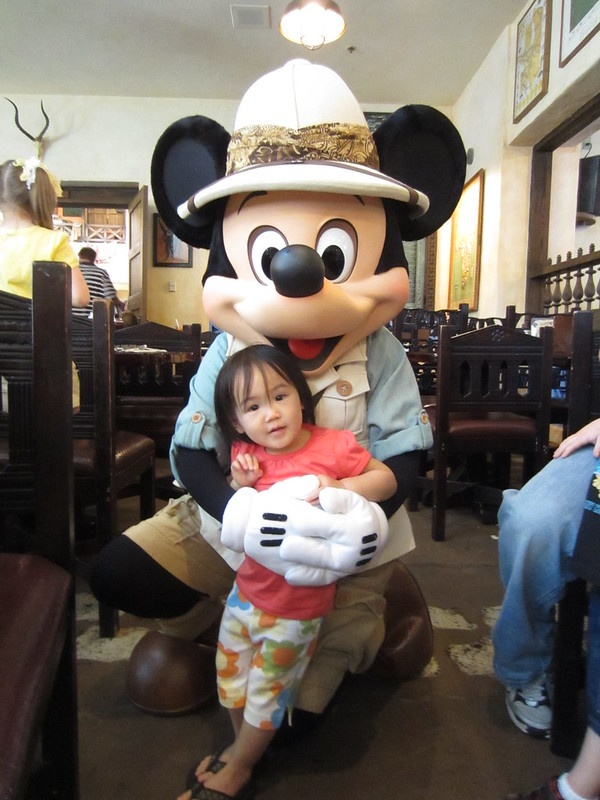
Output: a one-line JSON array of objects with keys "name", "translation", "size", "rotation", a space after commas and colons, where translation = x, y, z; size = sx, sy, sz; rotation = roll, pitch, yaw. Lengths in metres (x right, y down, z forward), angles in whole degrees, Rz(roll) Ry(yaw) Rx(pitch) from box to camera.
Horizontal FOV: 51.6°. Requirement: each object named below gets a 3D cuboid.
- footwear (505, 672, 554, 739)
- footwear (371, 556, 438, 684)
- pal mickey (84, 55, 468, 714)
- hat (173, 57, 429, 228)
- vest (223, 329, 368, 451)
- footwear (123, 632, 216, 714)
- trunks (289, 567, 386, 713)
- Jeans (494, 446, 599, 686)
[{"name": "footwear", "translation": [0.372, 0.519, 1.054], "size": [0.063, 0.072, 0.109], "rotation": [-7, -9, 4]}, {"name": "footwear", "translation": [0.184, 0.425, 1.212], "size": [0.067, 0.186, 0.144], "rotation": [16, -29, -30]}, {"name": "pal mickey", "translation": [-0.020, -0.009, 1.080], "size": [0.634, 1.027, 0.532], "rotation": [-8, 24, -22]}, {"name": "hat", "translation": [-0.005, -0.463, 1.055], "size": [0.401, 0.224, 0.443], "rotation": [10, 27, 25]}, {"name": "vest", "translation": [-0.017, -0.001, 1.039], "size": [0.160, 0.203, 0.278], "rotation": [6, 15, 34]}, {"name": "footwear", "translation": [-0.223, 0.454, 1.070], "size": [0.136, 0.089, 0.134], "rotation": [1, -1, -2]}, {"name": "trunks", "translation": [0.044, 0.417, 0.987], "size": [0.095, 0.150, 0.059], "rotation": [-13, -48, 39]}, {"name": "Jeans", "translation": [0.362, 0.271, 0.928], "size": [0.129, 0.400, 0.126], "rotation": [2, 6, 17]}]
